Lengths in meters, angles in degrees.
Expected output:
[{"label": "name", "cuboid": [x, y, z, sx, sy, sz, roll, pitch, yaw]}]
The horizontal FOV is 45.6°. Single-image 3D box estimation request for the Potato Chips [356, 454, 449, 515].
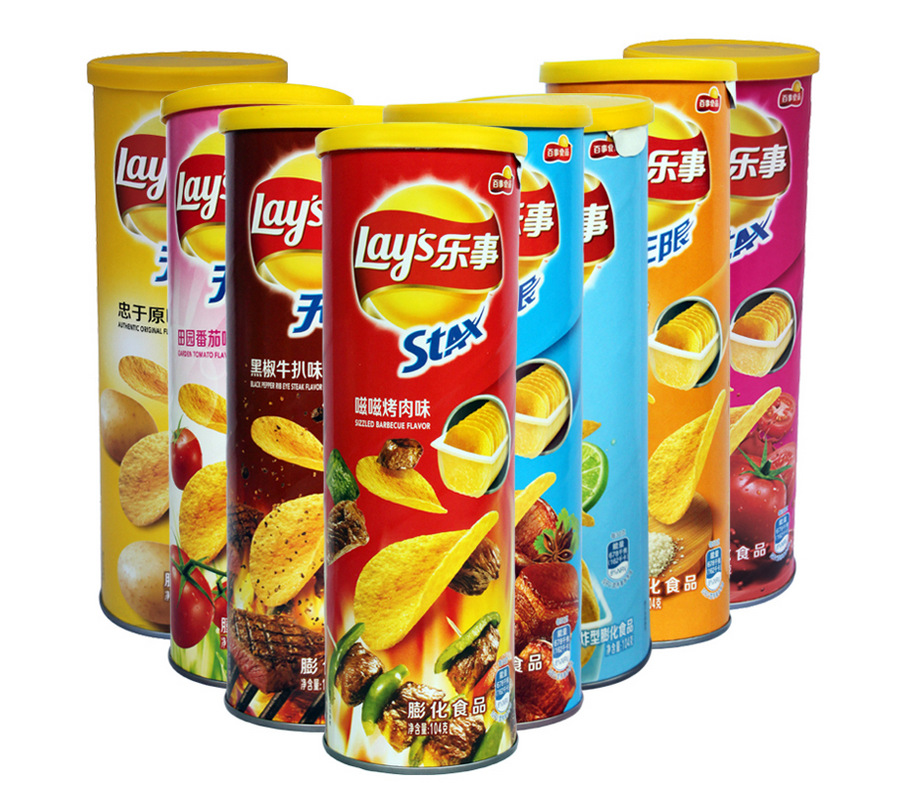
[{"label": "Potato Chips", "cuboid": [-0.103, 0.179, 2.190, 0.194, 0.079, 0.049, 26, 7, -2]}]
